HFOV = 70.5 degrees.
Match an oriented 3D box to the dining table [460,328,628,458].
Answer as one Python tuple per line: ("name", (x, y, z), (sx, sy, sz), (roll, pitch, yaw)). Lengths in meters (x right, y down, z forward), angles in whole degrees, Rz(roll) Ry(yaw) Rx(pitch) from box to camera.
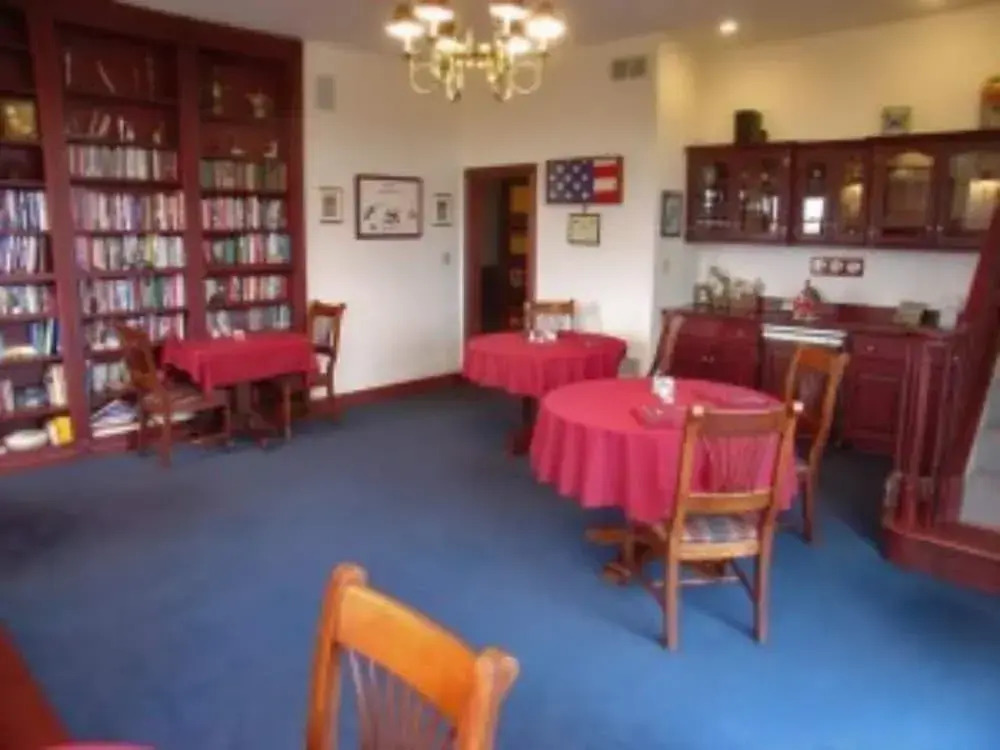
("dining table", (0.170, 0.160, 5.699), (0.807, 0.675, 0.850), (-1, 9, -17))

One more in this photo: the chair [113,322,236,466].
("chair", (-2.537, 0.096, 5.532), (0.579, 1.135, 0.718), (6, 15, 29))

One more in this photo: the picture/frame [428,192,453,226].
("picture/frame", (-0.645, -1.775, 7.530), (0.033, 0.385, 0.324), (6, 11, 35))

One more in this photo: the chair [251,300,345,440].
("chair", (-1.785, -0.099, 6.318), (0.740, 1.151, 0.764), (-1, 11, -18))

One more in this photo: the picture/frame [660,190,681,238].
("picture/frame", (1.575, -1.503, 6.525), (0.049, 0.501, 0.406), (0, 5, 37))

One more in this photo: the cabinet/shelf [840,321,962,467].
("cabinet/shelf", (3.149, -0.004, 5.714), (0.678, 1.163, 0.795), (2, 31, 27))

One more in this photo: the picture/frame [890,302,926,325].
("picture/frame", (3.413, -0.512, 5.866), (0.202, 0.234, 0.026), (5, -30, 48))

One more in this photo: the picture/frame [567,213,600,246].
("picture/frame", (0.833, -1.421, 6.854), (0.290, 0.278, 0.022), (10, 16, 39))

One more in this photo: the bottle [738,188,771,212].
("bottle", (2.297, -1.546, 6.287), (0.211, 0.180, 0.198), (0, 8, 11))

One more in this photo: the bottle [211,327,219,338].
("bottle", (-2.421, -0.365, 5.995), (0.098, 0.077, 0.235), (7, 6, -23))

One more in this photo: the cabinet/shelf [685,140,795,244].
("cabinet/shelf", (2.195, -1.648, 6.325), (0.842, 0.885, 0.303), (8, 13, 42))

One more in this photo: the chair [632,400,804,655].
("chair", (1.060, 0.664, 3.619), (0.629, 1.313, 0.790), (-2, 14, -6))

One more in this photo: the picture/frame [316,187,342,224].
("picture/frame", (-1.615, -1.605, 6.639), (0.028, 0.399, 0.297), (7, 12, 37))

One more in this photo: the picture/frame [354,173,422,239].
("picture/frame", (-1.098, -1.676, 7.085), (0.693, 0.601, 0.039), (5, 14, 10))

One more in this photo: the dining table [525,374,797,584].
("dining table", (0.621, 0.292, 3.909), (1.037, 0.827, 1.104), (-1, 19, -7))

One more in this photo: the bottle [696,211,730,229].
("bottle", (1.969, -1.426, 6.558), (0.254, 0.173, 0.141), (11, 20, 41))

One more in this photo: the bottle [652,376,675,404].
("bottle", (0.962, 0.056, 4.057), (0.108, 0.157, 0.200), (-6, 13, -14))

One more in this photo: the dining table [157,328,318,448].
("dining table", (-2.214, 0.095, 6.031), (1.173, 0.928, 1.265), (3, 14, 4))

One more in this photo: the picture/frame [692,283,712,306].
("picture/frame", (1.957, -0.766, 6.779), (0.149, 0.186, 0.145), (3, 14, 9))
